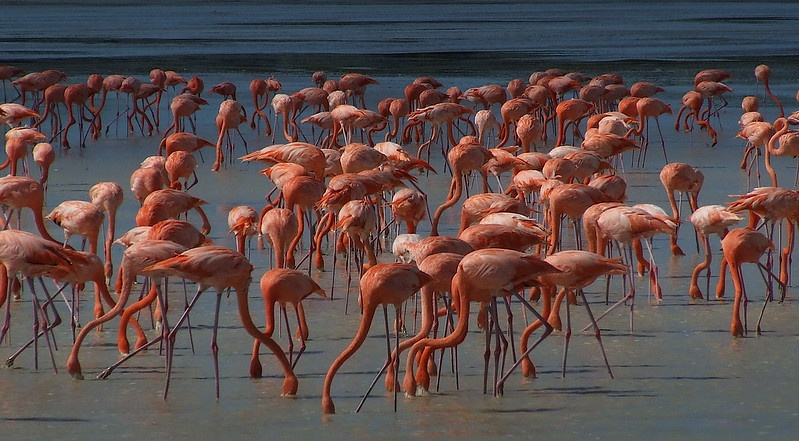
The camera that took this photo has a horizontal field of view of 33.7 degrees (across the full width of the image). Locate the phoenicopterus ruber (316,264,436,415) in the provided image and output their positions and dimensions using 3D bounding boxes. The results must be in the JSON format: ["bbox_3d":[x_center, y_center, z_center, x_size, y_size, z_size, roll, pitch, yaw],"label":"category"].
[{"bbox_3d":[-0.279,1.478,16.489,1.399,1.865,0.385,-2,-7,-1],"label":"phoenicopterus ruber"}]
